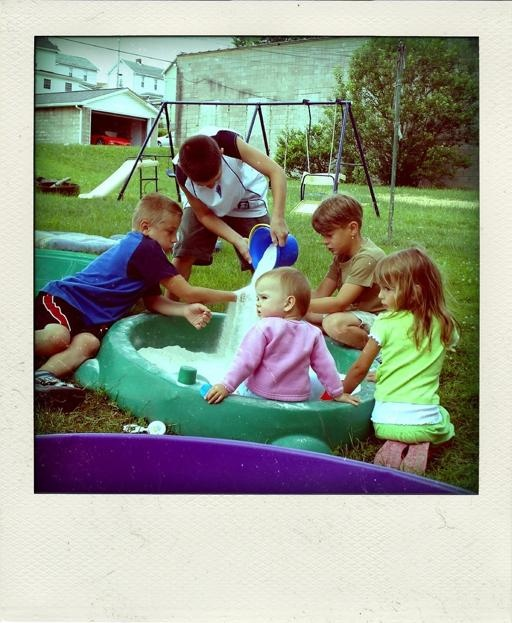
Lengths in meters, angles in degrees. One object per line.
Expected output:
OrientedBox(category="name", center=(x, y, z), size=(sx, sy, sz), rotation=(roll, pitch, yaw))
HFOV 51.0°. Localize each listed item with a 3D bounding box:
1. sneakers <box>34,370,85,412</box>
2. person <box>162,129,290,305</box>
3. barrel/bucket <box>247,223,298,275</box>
OrientedBox(category="sneakers", center=(-0.674, 0.278, 1.993), size=(0.217, 0.101, 0.197), rotation=(16, -1, -13))
OrientedBox(category="person", center=(-0.130, -0.432, 2.586), size=(0.564, 0.859, 0.575), rotation=(22, 37, 35))
OrientedBox(category="barrel/bucket", center=(0.047, -0.278, 2.327), size=(0.164, 0.209, 0.224), rotation=(-10, -5, -33))
